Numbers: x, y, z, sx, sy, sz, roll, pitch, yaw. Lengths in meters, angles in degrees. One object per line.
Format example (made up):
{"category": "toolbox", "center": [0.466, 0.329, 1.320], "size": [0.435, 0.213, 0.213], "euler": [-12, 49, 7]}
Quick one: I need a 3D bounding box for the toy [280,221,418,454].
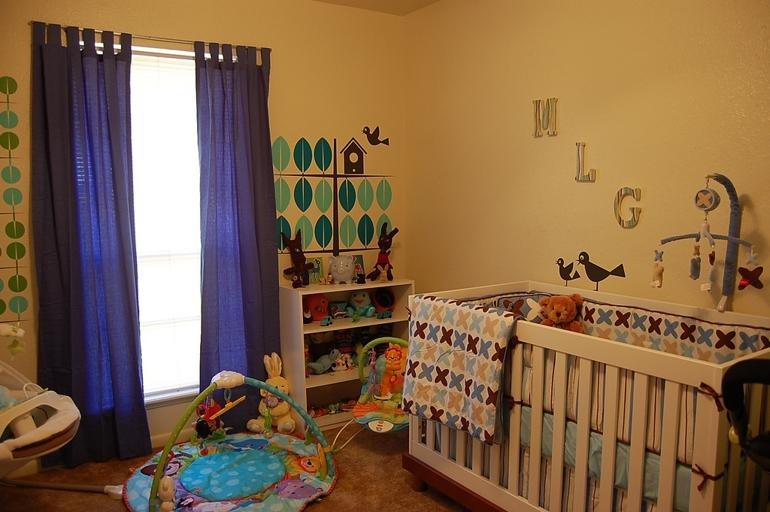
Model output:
{"category": "toy", "center": [-0.134, 0.534, 4.372], "size": [1.056, 1.394, 0.945], "euler": [8, 12, 37]}

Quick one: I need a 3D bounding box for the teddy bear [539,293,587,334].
{"category": "teddy bear", "center": [1.051, 0.345, 3.607], "size": [0.239, 0.257, 0.149], "euler": [-1, 6, 27]}

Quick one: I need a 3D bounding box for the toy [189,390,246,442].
{"category": "toy", "center": [-1.087, 1.053, 3.988], "size": [0.335, 0.372, 0.494], "euler": [-2, 10, -14]}

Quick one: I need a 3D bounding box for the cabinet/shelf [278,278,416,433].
{"category": "cabinet/shelf", "center": [-0.289, 0.704, 4.270], "size": [0.975, 1.118, 0.341], "euler": [-2, 2, -34]}

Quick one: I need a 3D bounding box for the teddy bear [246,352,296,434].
{"category": "teddy bear", "center": [-0.786, 0.973, 4.243], "size": [0.280, 0.530, 0.323], "euler": [9, 13, 42]}
